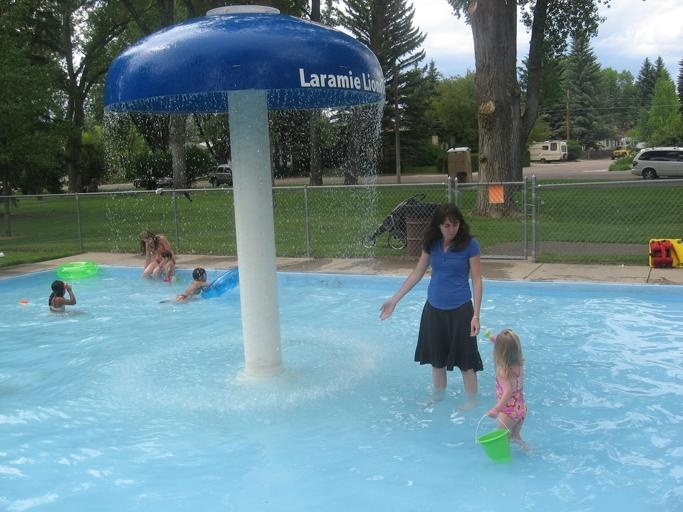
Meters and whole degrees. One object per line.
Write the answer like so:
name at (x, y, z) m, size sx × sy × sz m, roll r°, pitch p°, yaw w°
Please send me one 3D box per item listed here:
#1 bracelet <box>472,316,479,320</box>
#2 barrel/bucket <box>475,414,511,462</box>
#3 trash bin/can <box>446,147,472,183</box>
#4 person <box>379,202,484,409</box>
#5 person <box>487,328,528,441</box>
bracelet at (1.491, 0.695, 7.308) m, size 0.040 × 0.033 × 0.043 m, roll 2°, pitch 15°, yaw 3°
barrel/bucket at (1.600, 1.951, 6.947) m, size 0.334 × 0.439 × 0.281 m, roll -23°, pitch -7°, yaw -27°
trash bin/can at (5.657, -4.373, 31.624) m, size 1.080 × 1.678 × 1.361 m, roll 0°, pitch 12°, yaw 8°
person at (1.141, 0.592, 7.501) m, size 0.881 × 2.377 × 0.498 m, roll -1°, pitch 12°, yaw 8°
person at (1.718, 1.420, 6.921) m, size 0.587 × 1.327 × 0.265 m, roll -10°, pitch 14°, yaw -33°
